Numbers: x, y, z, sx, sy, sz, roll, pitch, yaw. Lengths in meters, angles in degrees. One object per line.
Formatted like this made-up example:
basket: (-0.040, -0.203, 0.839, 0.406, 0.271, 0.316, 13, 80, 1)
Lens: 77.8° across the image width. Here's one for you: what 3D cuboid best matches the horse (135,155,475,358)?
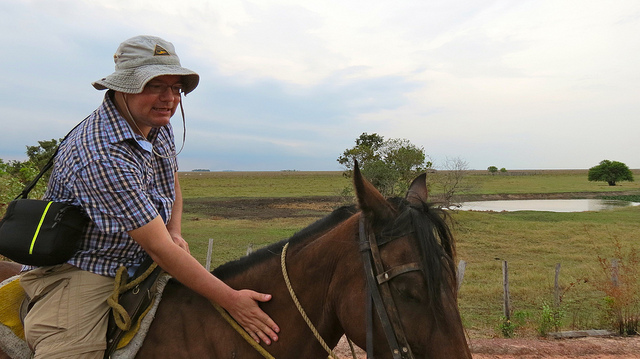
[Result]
horse: (0.021, 0.955, 4.599, 3.250, 2.253, 1.047, 1, 3, 18)
